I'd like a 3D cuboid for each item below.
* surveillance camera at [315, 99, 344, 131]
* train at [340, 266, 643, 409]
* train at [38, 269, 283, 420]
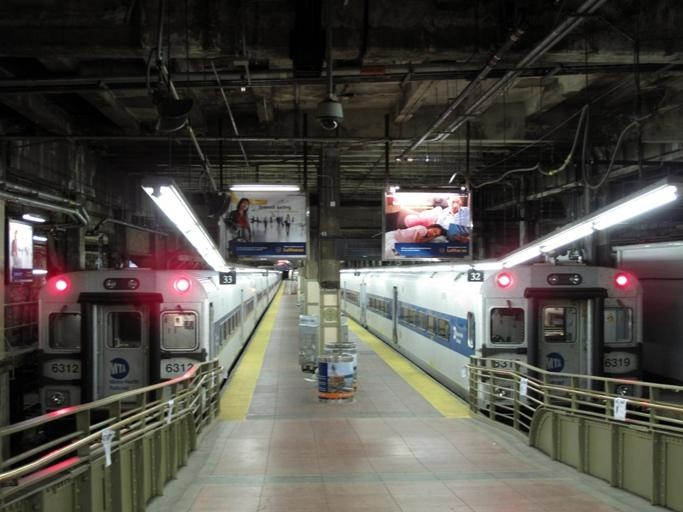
[{"bbox_3d":[-0.211,-2.325,9.940,0.381,0.462,0.273,-4,-5,-7],"label":"surveillance camera"},{"bbox_3d":[2.771,2.500,28.340,4.038,4.764,29.314,-3,-5,-9],"label":"train"},{"bbox_3d":[-4.177,1.821,18.123,2.511,2.405,10.215,-1,-1,6],"label":"train"}]
